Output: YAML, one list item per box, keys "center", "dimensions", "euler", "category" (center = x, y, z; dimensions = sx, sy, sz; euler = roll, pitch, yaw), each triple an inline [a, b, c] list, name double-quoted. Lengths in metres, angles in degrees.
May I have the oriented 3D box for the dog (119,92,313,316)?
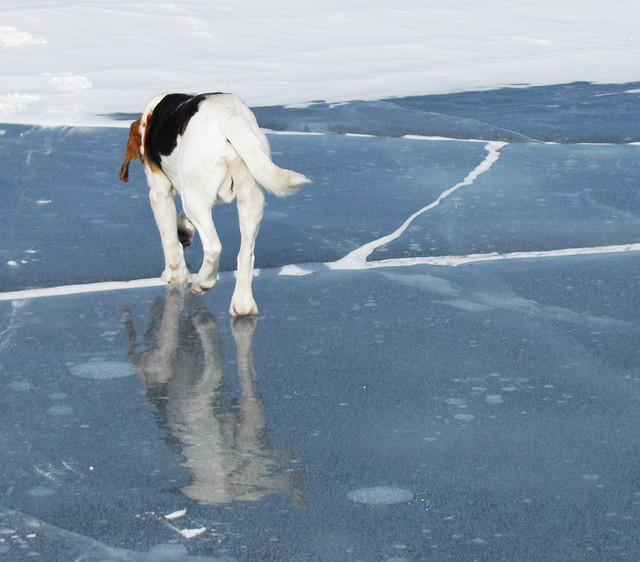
- center: [-0.846, -0.595, 6.335]
  dimensions: [0.888, 1.502, 2.592]
  euler: [-1, 12, -24]
  category: "dog"
